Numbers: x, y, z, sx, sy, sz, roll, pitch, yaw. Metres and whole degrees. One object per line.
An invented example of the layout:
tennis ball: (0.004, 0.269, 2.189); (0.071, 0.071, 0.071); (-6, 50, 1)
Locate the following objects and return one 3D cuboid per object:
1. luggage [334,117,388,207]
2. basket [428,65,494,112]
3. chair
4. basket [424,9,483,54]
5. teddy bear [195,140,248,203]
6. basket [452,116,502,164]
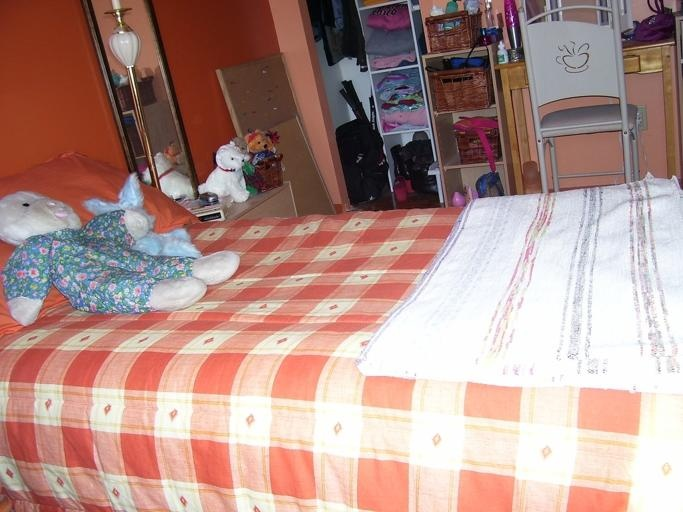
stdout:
luggage: (0.186, -0.905, 4.702); (0.644, 0.720, 0.306); (-5, 3, -9)
basket: (0.889, -1.253, 3.619); (0.501, 0.243, 0.509); (-21, 16, -32)
chair: (1.456, -0.931, 2.933); (0.558, 1.185, 1.070); (-6, 22, 27)
basket: (0.795, -1.577, 3.497); (0.339, 0.211, 0.330); (7, 31, 32)
teddy bear: (-0.746, -0.527, 3.083); (0.370, 0.321, 0.245); (7, 28, 17)
basket: (0.969, -0.814, 3.456); (0.322, 0.264, 0.387); (2, 16, 19)
